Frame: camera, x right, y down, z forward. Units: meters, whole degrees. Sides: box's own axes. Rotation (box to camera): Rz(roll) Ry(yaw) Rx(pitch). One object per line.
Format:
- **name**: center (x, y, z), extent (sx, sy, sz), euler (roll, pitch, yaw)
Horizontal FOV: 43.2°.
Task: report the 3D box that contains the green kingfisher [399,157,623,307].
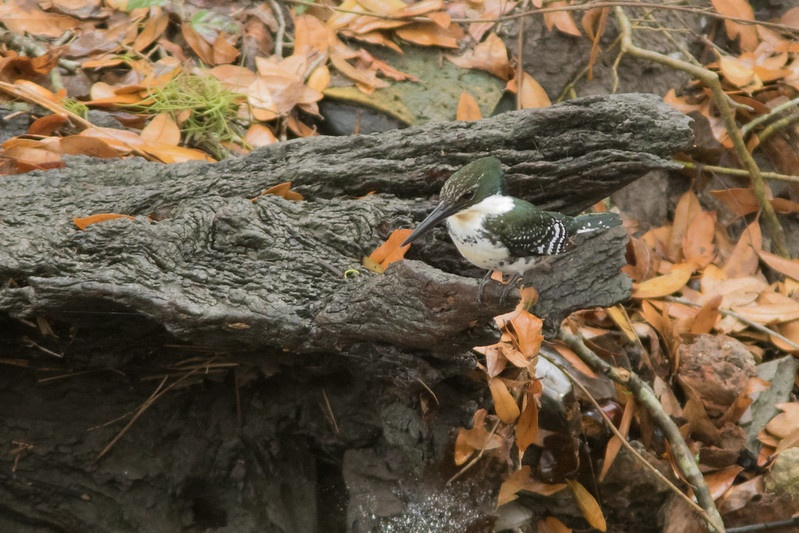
- **green kingfisher**: center (0.660, -0.254, 5.966), extent (1.625, 0.724, 0.539), euler (-15, 23, -38)
